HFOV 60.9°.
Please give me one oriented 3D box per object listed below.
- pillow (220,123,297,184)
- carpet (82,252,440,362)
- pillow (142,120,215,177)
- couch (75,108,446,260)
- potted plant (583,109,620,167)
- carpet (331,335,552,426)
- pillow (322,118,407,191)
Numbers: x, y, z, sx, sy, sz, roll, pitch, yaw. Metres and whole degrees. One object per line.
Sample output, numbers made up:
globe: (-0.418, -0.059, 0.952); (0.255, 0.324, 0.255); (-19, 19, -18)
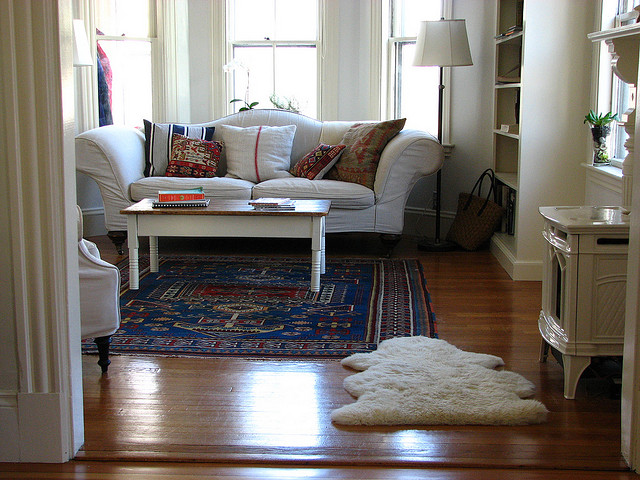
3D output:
pillow: (-0.565, -0.810, 5.081); (0.728, 0.489, 0.285); (3, 14, 6)
carpet: (-0.512, 0.432, 3.446); (1.916, 0.007, 1.934); (-4, 12, -23)
pillow: (-1.336, -0.849, 5.178); (0.710, 0.544, 0.247); (0, 7, -14)
couch: (-0.568, -0.564, 5.001); (3.115, 1.106, 0.985); (1, 15, 1)
potted plant: (1.896, -0.684, 3.595); (0.280, 0.339, 0.262); (4, 16, 43)
carpet: (0.501, 0.625, 2.474); (0.897, 0.058, 0.770); (0, 13, 1)
pillow: (0.460, -0.789, 4.795); (0.217, 0.621, 0.710); (25, -12, -40)
